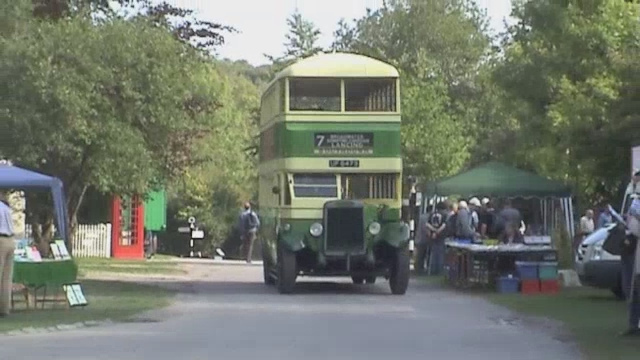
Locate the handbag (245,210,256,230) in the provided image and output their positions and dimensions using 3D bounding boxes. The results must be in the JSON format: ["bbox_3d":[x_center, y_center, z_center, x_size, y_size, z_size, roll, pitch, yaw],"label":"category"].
[{"bbox_3d":[-3.663,2.165,58.676,0.565,0.774,0.798,2,-22,-2],"label":"handbag"}]

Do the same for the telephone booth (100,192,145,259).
[{"bbox_3d":[-10.706,2.480,59.814,2.341,3.656,4.298,1,-6,-10],"label":"telephone booth"}]
